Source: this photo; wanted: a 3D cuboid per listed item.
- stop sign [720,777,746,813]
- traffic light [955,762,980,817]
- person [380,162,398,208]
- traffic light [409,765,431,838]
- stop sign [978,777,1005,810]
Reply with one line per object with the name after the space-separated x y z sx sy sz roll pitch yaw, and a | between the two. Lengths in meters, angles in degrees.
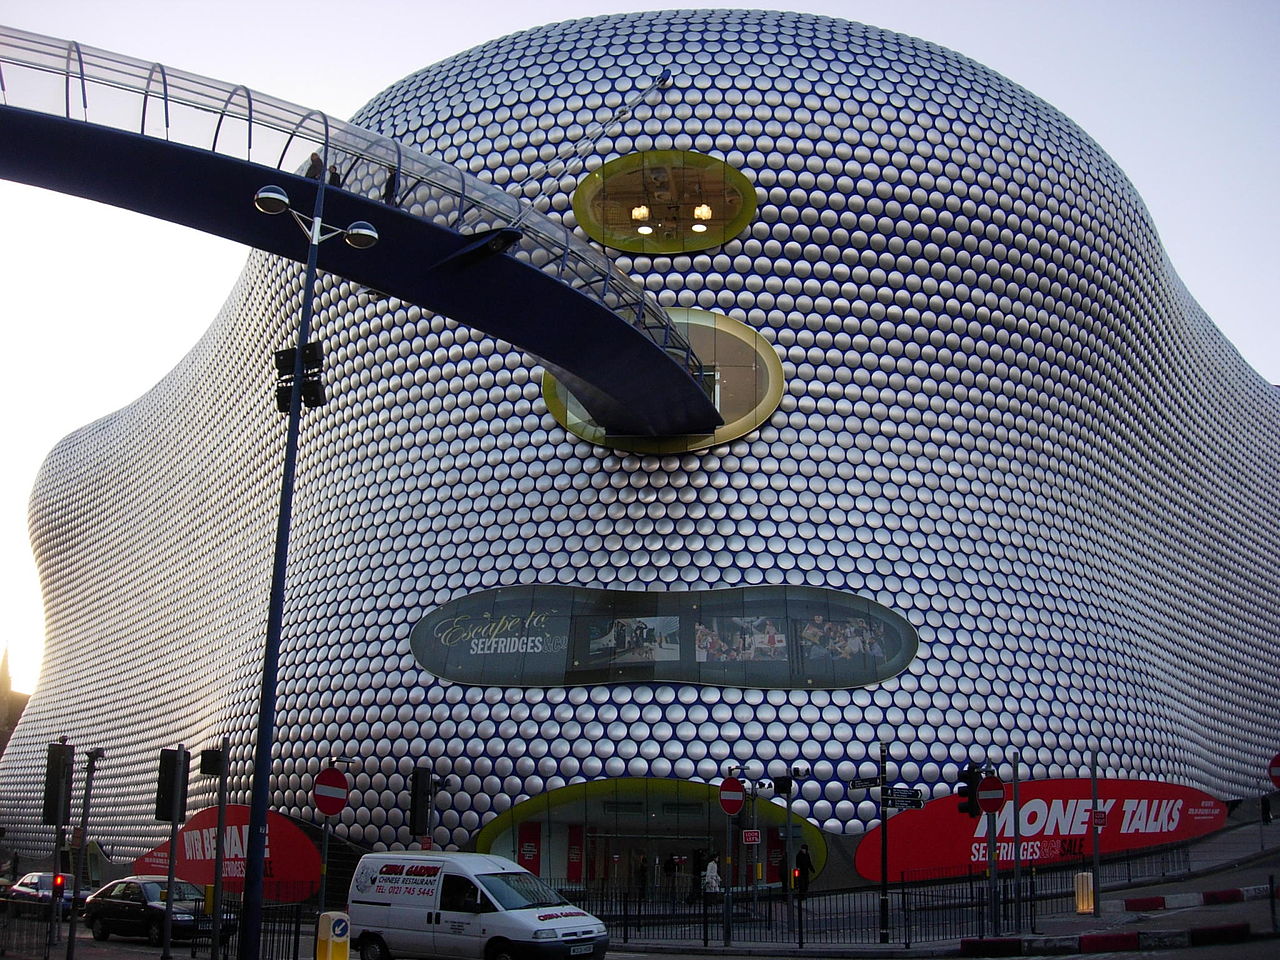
1.646 5.769 27.759 0.357 0.709 0.866 -3 -20 8 | stop sign
5.960 5.665 27.745 0.436 1.137 2.249 -4 -21 11 | traffic light
-4.613 -5.434 28.030 0.303 0.772 0.246 4 -19 -11 | person
-3.779 5.444 25.980 0.295 1.135 0.568 5 -20 -14 | traffic light
6.219 5.597 27.148 0.391 0.536 0.707 -4 -21 12 | stop sign
